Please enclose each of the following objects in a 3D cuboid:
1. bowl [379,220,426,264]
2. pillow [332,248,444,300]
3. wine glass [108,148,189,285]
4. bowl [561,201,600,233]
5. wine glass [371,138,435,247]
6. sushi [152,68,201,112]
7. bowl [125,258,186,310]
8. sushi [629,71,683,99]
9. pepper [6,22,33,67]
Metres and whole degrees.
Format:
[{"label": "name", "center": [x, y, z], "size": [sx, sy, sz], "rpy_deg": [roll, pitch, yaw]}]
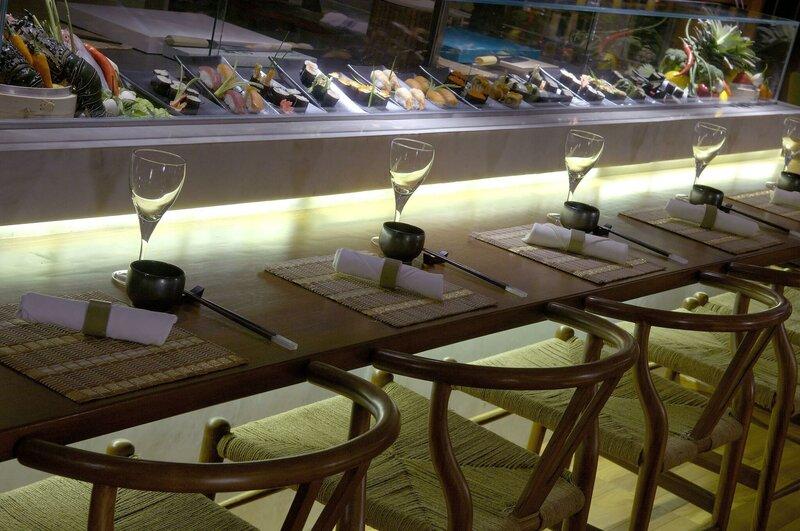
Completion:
[{"label": "bowl", "center": [0.001, -0.040, 1.138], "size": [0.111, 0.072, 0.099], "rpy_deg": [11, 11, 4]}, {"label": "pillow", "center": [-0.022, 0.016, 1.027], "size": [0.234, 0.076, 0.082], "rpy_deg": [5, 18, 3]}, {"label": "wine glass", "center": [-0.451, -0.077, 0.924], "size": [0.116, 0.250, 0.123], "rpy_deg": [-2, 25, -28]}, {"label": "bowl", "center": [0.507, -0.143, 1.472], "size": [0.104, 0.055, 0.100], "rpy_deg": [5, 24, -2]}, {"label": "wine glass", "center": [0.021, -0.185, 1.287], "size": [0.172, 0.260, 0.172], "rpy_deg": [-1, 22, -2]}, {"label": "sushi", "center": [-0.598, -0.461, 1.332], "size": [0.107, 0.108, 0.230], "rpy_deg": [-7, 20, -33]}, {"label": "bowl", "center": [-0.386, 0.036, 0.790], "size": [0.097, 0.058, 0.086], "rpy_deg": [21, 14, 27]}, {"label": "sushi", "center": [1.259, -0.868, 2.465], "size": [0.247, 0.086, 0.158], "rpy_deg": [18, 10, -8]}, {"label": "pepper", "center": [-0.803, -0.463, 1.067], "size": [0.031, 0.031, 0.126], "rpy_deg": [-40, 72, -16]}]
